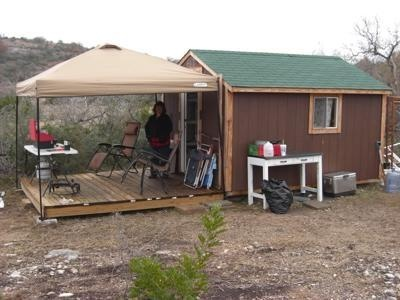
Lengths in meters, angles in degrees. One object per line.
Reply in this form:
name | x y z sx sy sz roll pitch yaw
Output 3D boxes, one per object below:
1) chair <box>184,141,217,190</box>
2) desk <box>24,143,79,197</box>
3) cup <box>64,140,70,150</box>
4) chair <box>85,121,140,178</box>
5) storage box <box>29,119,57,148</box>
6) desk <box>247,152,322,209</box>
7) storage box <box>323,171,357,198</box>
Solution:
chair | 0.037 0.360 8.116 0.545 1.169 0.771 12 0 -35
desk | -3.204 0.431 7.894 0.976 1.004 1.827 -1 8 -25
cup | -2.782 -0.099 7.670 0.116 0.175 0.222 -2 7 -20
chair | -2.052 -0.050 8.817 1.052 1.450 0.872 4 4 -25
storage box | -3.296 -0.383 7.827 0.386 0.606 0.586 -5 15 -19
desk | 1.837 0.629 7.876 1.486 1.126 0.685 -3 4 -24
storage box | 3.313 0.809 8.694 0.761 0.513 0.457 -6 6 -28
